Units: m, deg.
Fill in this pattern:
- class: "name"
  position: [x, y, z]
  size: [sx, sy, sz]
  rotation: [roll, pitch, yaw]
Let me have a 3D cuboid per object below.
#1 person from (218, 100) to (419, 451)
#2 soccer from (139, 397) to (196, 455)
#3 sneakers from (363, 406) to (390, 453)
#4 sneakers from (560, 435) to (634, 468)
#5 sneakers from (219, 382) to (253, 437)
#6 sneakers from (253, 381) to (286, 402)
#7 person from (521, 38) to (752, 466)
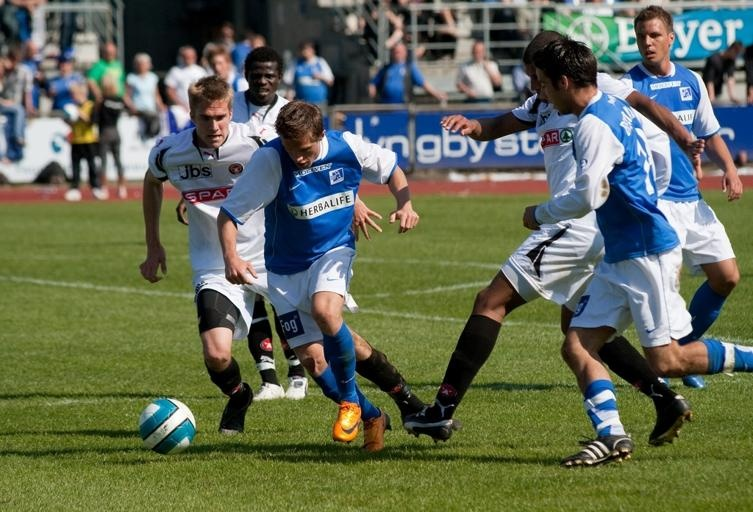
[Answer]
- class: "person"
  position: [-0.416, 0.114, 8.514]
  size: [1.367, 2.433, 0.862]
  rotation: [-1, 14, 1]
- class: "soccer"
  position: [-1.499, 1.222, 8.579]
  size: [0.430, 0.437, 0.435]
  rotation: [-2, 0, -17]
- class: "sneakers"
  position: [0.015, 1.224, 8.500]
  size: [0.115, 0.328, 0.169]
  rotation: [-2, -26, 35]
- class: "sneakers"
  position: [1.480, 1.341, 8.115]
  size: [0.488, 0.245, 0.193]
  rotation: [-7, -11, 0]
- class: "sneakers"
  position: [-1.007, 1.135, 8.840]
  size: [0.159, 0.447, 0.187]
  rotation: [14, -11, 8]
- class: "sneakers"
  position: [-0.834, 1.061, 9.392]
  size: [0.217, 0.108, 0.115]
  rotation: [-1, 3, -8]
- class: "person"
  position: [1.686, -0.067, 8.192]
  size: [1.213, 2.770, 0.952]
  rotation: [-7, 15, -22]
